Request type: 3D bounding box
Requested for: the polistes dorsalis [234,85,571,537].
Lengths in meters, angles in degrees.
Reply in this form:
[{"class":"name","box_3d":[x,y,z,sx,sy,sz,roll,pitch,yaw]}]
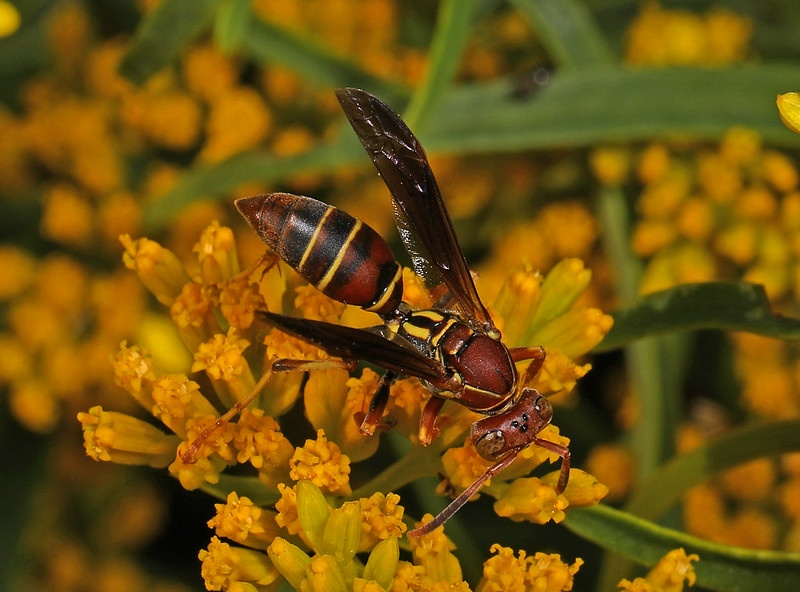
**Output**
[{"class":"polistes dorsalis","box_3d":[-0.006,0.040,1.510,0.327,0.171,0.648,-28,72,-14]}]
